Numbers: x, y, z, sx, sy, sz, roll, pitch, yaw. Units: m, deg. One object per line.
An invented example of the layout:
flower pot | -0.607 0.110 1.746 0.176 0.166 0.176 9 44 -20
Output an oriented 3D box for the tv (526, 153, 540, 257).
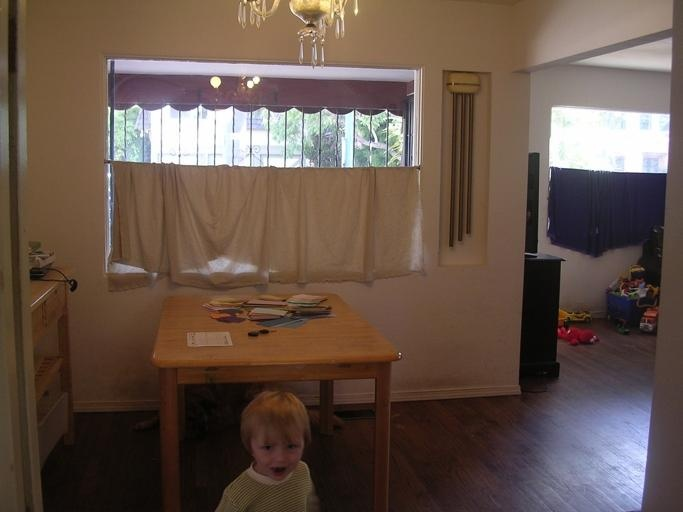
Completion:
tv | 1.778 -0.478 5.042 0.112 0.928 0.311 4 8 22

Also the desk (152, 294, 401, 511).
desk | -0.489 0.640 3.195 0.816 0.783 1.436 -1 4 -9

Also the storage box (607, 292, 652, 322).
storage box | 3.503 0.646 6.726 0.314 0.221 0.331 -1 4 -17
